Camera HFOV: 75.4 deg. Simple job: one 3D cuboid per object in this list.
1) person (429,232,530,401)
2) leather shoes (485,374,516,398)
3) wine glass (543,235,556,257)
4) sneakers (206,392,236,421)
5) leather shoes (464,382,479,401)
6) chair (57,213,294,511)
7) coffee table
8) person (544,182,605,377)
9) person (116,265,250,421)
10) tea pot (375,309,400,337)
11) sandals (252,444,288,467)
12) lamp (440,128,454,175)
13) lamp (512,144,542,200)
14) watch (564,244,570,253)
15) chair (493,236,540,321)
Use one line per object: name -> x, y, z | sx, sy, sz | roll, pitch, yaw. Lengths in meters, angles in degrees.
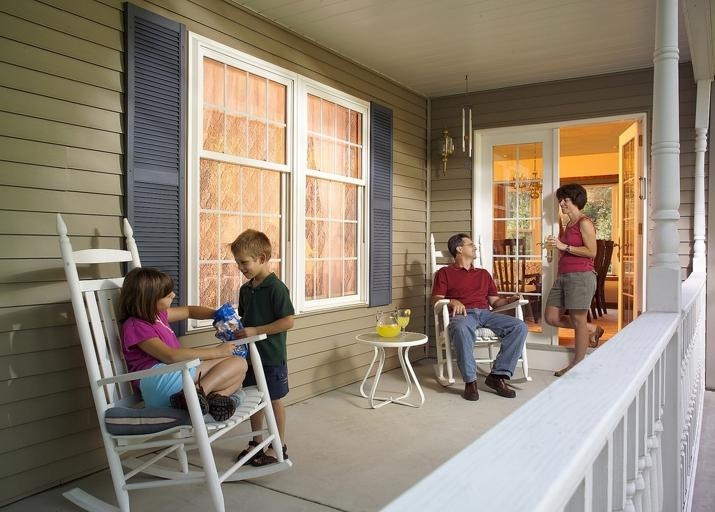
person -> 1.193, 0.562, 4.669 | 0.791, 1.547, 0.827 | 0, 2, -12
leather shoes -> 1.371, 1.247, 4.487 | 0.143, 0.142, 0.369 | -8, 9, -37
wine glass -> 2.141, -0.094, 5.178 | 0.092, 0.234, 0.177 | 13, -2, 3
sneakers -> -0.720, 0.794, 2.465 | 0.150, 0.133, 0.178 | 0, 2, -15
leather shoes -> 1.058, 1.264, 4.316 | 0.146, 0.160, 0.114 | 1, 2, 6
chair -> -1.113, 0.621, 2.641 | 1.178, 1.676, 0.689 | 2, 3, 25
coffee table -> 0.316, 1.079, 4.306 | 0.699, 0.565, 0.612 | 4, -5, -23
person -> 2.310, 0.274, 4.985 | 0.544, 2.090, 0.581 | 2, 3, 26
person -> -0.988, 0.488, 2.655 | 0.719, 0.770, 0.587 | 3, 1, -8
tea pot -> 0.278, 0.603, 4.148 | 0.264, 0.211, 0.234 | -1, 3, 6
sandals -> -0.544, 1.263, 2.928 | 0.224, 0.071, 0.108 | 6, -7, -31
lamp -> 1.082, -1.317, 5.766 | 0.199, 0.580, 0.185 | -4, 10, -22
lamp -> 2.137, -0.995, 5.607 | 0.411, 0.583, 0.362 | 3, 6, 38
watch -> 2.153, -0.074, 4.761 | 0.053, 0.070, 0.075 | 0, -4, 43
chair -> 1.803, 0.350, 5.561 | 0.697, 1.042, 0.537 | -5, -2, 7
